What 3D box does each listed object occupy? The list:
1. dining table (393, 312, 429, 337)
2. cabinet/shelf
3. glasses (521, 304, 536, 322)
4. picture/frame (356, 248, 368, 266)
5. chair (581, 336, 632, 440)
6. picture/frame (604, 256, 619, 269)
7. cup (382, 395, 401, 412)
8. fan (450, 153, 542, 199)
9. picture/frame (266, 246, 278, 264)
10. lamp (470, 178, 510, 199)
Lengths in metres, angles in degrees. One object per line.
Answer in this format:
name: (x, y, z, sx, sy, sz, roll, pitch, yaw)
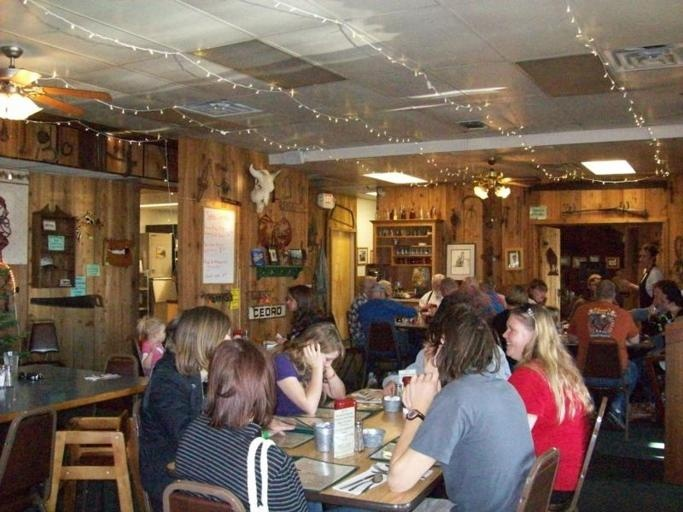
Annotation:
dining table: (1.024, 1.005, 7.925, 0.670, 0.193, 0.942, 0, -1, 13)
cabinet/shelf: (1.318, 0.034, 10.410, 1.877, 1.960, 0.589, -1, -3, 29)
glasses: (1.138, 0.343, 3.272, 0.060, 0.086, 0.034, -6, -13, -27)
picture/frame: (0.474, 0.023, 13.061, 0.039, 0.408, 0.467, -4, 3, 34)
chair: (2.900, 1.400, 5.921, 0.583, 0.882, 0.672, 2, -7, 34)
picture/frame: (6.633, 0.160, 13.134, 0.349, 0.294, 0.035, 3, -2, 37)
cup: (0.348, 1.009, 3.655, 0.127, 0.062, 0.115, -1, 0, 13)
fan: (2.326, -1.235, 8.235, 0.886, 0.371, 0.757, -1, -11, 13)
picture/frame: (-1.064, -0.001, 8.277, 0.060, 0.193, 0.216, -7, -22, 27)
lamp: (2.383, -1.081, 8.523, 0.628, 0.199, 0.561, 2, 3, 7)
